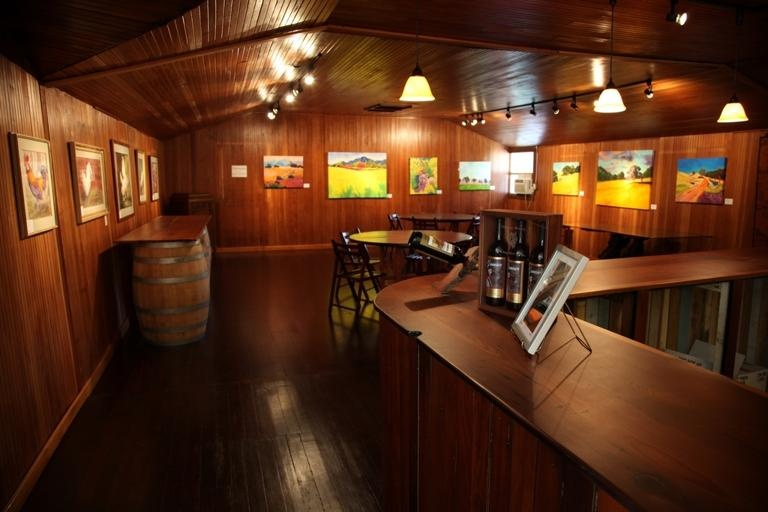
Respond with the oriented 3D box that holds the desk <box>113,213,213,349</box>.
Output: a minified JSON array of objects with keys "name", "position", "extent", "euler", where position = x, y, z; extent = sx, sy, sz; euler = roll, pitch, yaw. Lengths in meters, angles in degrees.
[{"name":"desk","position":[-2.540,0.355,6.098],"extent":[0.863,1.261,1.352],"euler":[1,7,-3]}]

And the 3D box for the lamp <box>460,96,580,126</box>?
[{"name":"lamp","position":[2.695,-2.914,10.299],"extent":[0.827,0.344,3.857],"euler":[-7,10,-14]}]

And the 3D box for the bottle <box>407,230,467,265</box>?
[{"name":"bottle","position":[0.339,-0.049,3.163],"extent":[0.361,0.236,0.233],"euler":[-5,9,-2]}]

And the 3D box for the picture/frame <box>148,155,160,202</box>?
[{"name":"picture/frame","position":[-4.156,-1.377,9.122],"extent":[0.067,0.811,1.361],"euler":[-7,9,-18]}]

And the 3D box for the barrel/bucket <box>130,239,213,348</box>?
[{"name":"barrel/bucket","position":[-2.505,0.365,6.195],"extent":[1.097,1.486,0.984],"euler":[-4,6,-41]}]

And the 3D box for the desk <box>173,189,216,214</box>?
[{"name":"desk","position":[-3.862,-1.032,10.186],"extent":[0.784,0.433,0.877],"euler":[-10,11,-30]}]

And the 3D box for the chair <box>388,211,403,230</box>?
[{"name":"chair","position":[0.208,-0.769,11.379],"extent":[0.326,0.567,0.376],"euler":[-4,5,-22]}]
